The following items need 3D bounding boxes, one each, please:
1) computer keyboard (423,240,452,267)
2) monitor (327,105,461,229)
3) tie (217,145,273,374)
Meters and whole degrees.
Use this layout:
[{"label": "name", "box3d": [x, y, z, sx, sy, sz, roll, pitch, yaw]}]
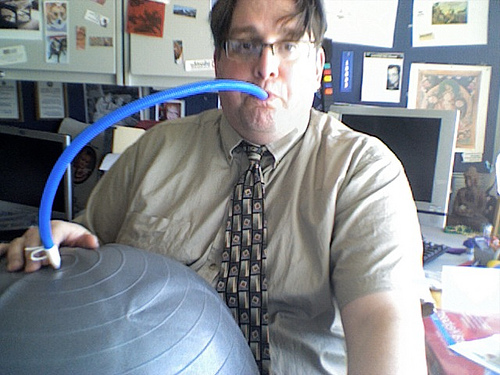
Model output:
[{"label": "computer keyboard", "box3d": [0.627, 0.233, 1.460, 0.072, 0.054, 0.156, 11, 10, 38]}, {"label": "monitor", "box3d": [0.547, -0.094, 1.629, 0.440, 0.429, 0.055, 10, 10, 34]}, {"label": "tie", "box3d": [-0.002, 0.156, 1.015, 0.142, 0.515, 0.253, 3, 8, -2]}]
